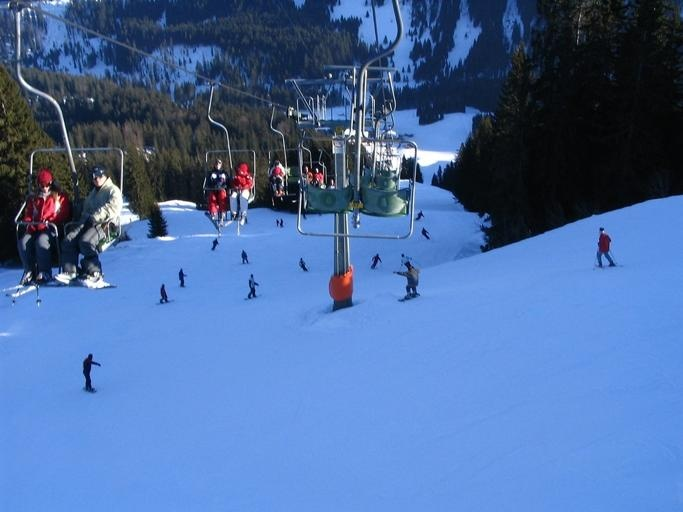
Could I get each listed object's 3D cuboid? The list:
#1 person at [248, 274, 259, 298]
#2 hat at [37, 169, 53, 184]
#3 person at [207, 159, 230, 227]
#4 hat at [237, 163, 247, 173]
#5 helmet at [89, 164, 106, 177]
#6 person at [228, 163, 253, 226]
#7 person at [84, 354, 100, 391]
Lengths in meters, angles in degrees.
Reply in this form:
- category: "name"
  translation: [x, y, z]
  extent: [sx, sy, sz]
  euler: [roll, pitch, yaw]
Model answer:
- category: "person"
  translation: [-4.436, 1.400, 41.824]
  extent: [0.554, 1.128, 1.948]
  euler: [-3, 12, -6]
- category: "hat"
  translation: [-10.134, -2.659, 28.734]
  extent: [0.497, 0.547, 0.318]
  euler: [-8, 12, -24]
- category: "person"
  translation: [-5.247, -2.589, 35.491]
  extent: [0.952, 2.896, 1.112]
  euler: [-4, 10, -12]
- category: "hat"
  translation: [-4.233, -3.788, 35.965]
  extent: [0.340, 0.447, 0.456]
  euler: [12, 30, 10]
- category: "helmet"
  translation: [-8.423, -2.908, 28.987]
  extent: [0.361, 0.345, 0.385]
  euler: [12, 28, 26]
- category: "person"
  translation: [-4.363, -2.636, 35.891]
  extent: [0.691, 2.867, 1.032]
  euler: [1, 2, -2]
- category: "person"
  translation: [-9.870, 4.393, 33.030]
  extent: [0.585, 1.407, 1.641]
  euler: [-5, 12, -17]
